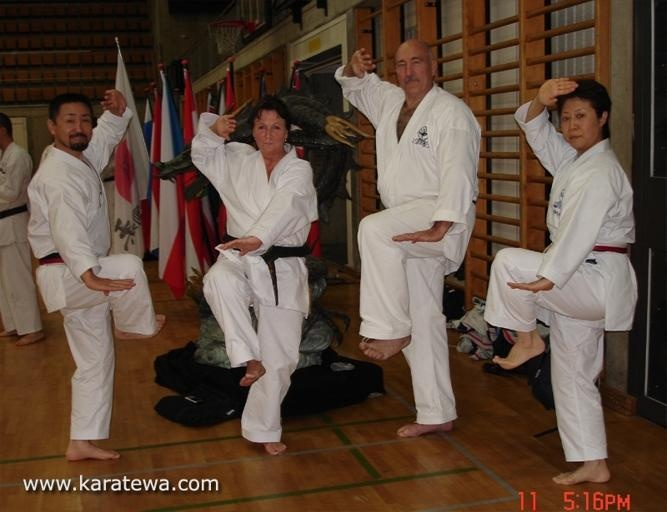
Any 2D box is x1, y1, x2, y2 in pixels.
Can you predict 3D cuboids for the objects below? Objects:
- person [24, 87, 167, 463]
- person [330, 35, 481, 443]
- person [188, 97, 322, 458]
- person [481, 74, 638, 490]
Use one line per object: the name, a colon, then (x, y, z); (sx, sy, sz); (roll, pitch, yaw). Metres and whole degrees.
person: (-1.124, 0.068, 2.688); (0.576, 1.730, 0.805); (-4, 10, -16)
person: (0.410, -0.077, 2.811); (0.596, 1.913, 0.683); (-1, 9, 2)
person: (-0.412, 0.072, 2.793); (0.603, 1.670, 0.590); (7, 13, 42)
person: (0.967, 0.104, 2.431); (0.644, 1.673, 0.509); (-1, 9, 4)
